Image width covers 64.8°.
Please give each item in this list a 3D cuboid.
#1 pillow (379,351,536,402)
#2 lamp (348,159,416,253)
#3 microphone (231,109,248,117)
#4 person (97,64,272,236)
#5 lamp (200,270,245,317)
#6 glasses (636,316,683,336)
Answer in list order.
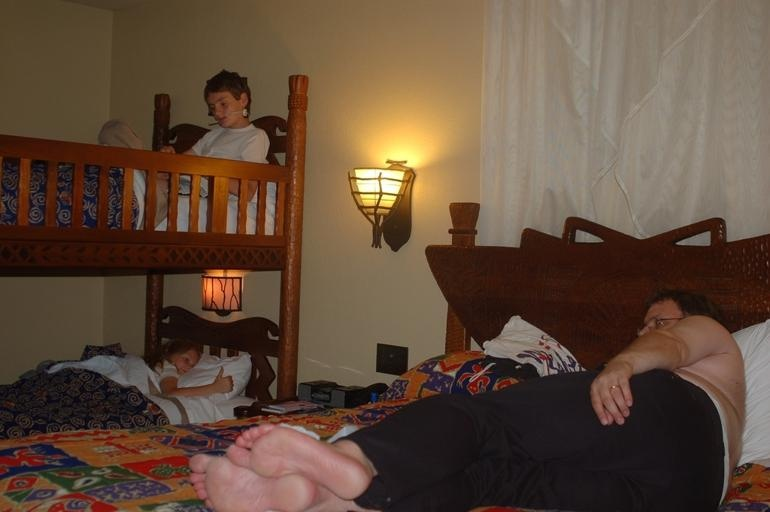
[{"bbox_3d":[0.359,0.565,2.835,0.401,0.103,0.327,-9,6,-32],"label":"pillow"},{"bbox_3d":[-0.029,-0.316,3.723,0.361,0.568,0.323,5,3,39],"label":"lamp"},{"bbox_3d":[-0.932,-0.913,3.913,0.064,0.026,0.045,-2,3,-37],"label":"microphone"},{"bbox_3d":[-1.233,-0.657,3.796,1.027,0.950,0.588,-15,37,-32],"label":"person"},{"bbox_3d":[-1.194,0.292,4.475,0.299,0.299,0.284,2,0,-10],"label":"lamp"},{"bbox_3d":[1.167,0.291,2.575,0.128,0.036,0.121,1,-17,-23],"label":"glasses"}]
